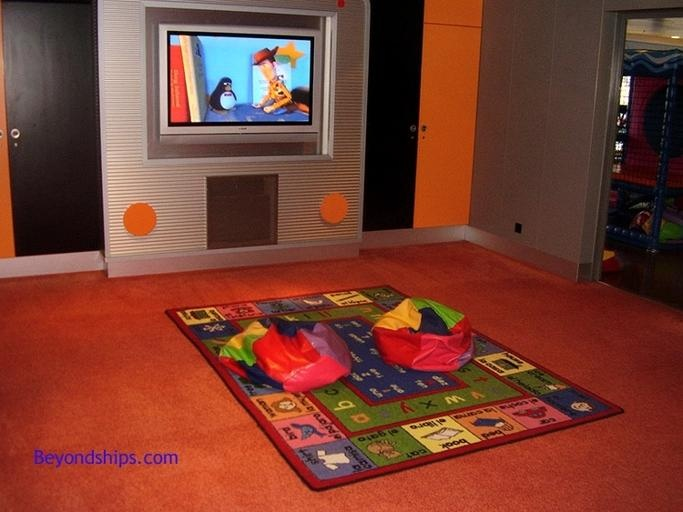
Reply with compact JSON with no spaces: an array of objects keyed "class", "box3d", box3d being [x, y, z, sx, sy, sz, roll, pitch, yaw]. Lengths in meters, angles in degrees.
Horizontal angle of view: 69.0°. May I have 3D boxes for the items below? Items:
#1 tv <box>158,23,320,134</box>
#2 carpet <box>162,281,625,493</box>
[{"class":"tv","box3d":[-1.089,-1.834,4.967,1.589,0.776,0.055,-2,18,-14]},{"class":"carpet","box3d":[0.479,0.809,2.979,1.389,0.011,1.459,-6,18,-25]}]
